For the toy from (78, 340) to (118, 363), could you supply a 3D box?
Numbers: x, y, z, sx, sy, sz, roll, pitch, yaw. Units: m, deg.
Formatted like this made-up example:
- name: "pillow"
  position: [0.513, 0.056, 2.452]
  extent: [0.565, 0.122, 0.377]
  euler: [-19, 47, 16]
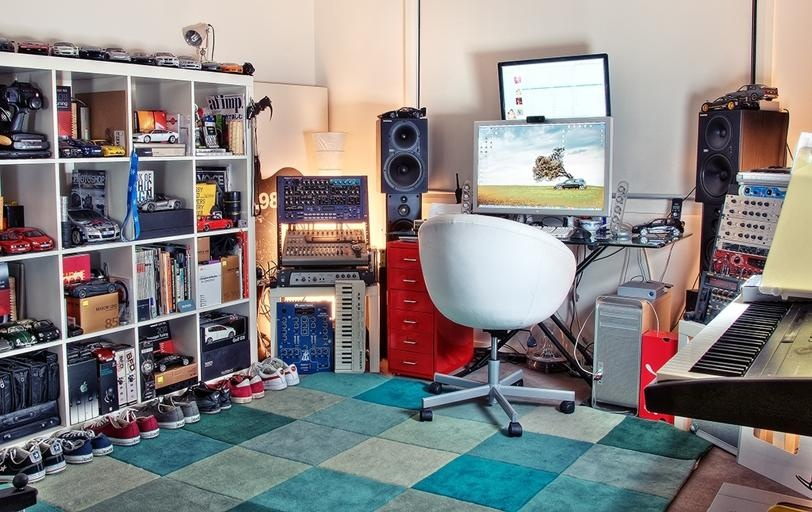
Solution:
- name: "toy"
  position: [-1.959, 0.589, 3.592]
  extent: [0.202, 0.062, 0.122]
  euler: [5, 8, 40]

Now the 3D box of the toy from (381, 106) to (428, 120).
- name: "toy"
  position: [-0.024, -1.088, 4.398]
  extent: [0.250, 0.077, 0.169]
  euler: [0, 3, 5]

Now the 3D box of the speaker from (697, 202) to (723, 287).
- name: "speaker"
  position: [1.967, -0.139, 3.729]
  extent: [0.087, 0.445, 0.234]
  euler: [4, 15, 15]

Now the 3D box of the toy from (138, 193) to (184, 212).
- name: "toy"
  position: [-1.664, -0.360, 3.820]
  extent: [0.196, 0.067, 0.116]
  euler: [-1, 2, -43]

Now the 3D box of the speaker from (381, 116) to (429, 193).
- name: "speaker"
  position: [-0.035, -0.780, 4.533]
  extent: [0.418, 0.584, 0.384]
  euler: [1, 3, 7]

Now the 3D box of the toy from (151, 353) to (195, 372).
- name: "toy"
  position: [-1.612, 0.717, 3.914]
  extent: [0.113, 0.051, 0.196]
  euler: [3, 3, 44]

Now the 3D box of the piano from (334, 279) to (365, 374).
- name: "piano"
  position: [-0.427, 0.522, 4.255]
  extent: [0.243, 0.692, 0.126]
  euler: [-2, 15, -4]

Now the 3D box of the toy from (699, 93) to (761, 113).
- name: "toy"
  position: [2.017, -0.955, 3.595]
  extent: [0.213, 0.055, 0.157]
  euler: [3, 8, 43]

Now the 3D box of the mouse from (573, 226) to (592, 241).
- name: "mouse"
  position: [1.187, -0.150, 3.892]
  extent: [0.094, 0.035, 0.125]
  euler: [6, 16, 21]

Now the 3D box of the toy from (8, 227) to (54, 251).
- name: "toy"
  position: [-2.215, -0.103, 3.354]
  extent: [0.264, 0.084, 0.120]
  euler: [7, 9, 34]

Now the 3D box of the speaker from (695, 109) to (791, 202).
- name: "speaker"
  position: [2.189, -0.640, 3.673]
  extent: [0.579, 0.590, 0.293]
  euler: [-4, 15, -13]

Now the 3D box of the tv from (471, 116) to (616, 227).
- name: "tv"
  position: [0.956, -0.640, 4.103]
  extent: [1.041, 0.696, 0.129]
  euler: [6, 18, 32]

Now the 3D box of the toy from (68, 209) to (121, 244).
- name: "toy"
  position: [-1.971, -0.204, 3.596]
  extent: [0.336, 0.115, 0.191]
  euler: [17, 17, 32]

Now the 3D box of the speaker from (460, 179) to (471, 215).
- name: "speaker"
  position: [0.443, -0.456, 4.336]
  extent: [0.063, 0.206, 0.116]
  euler: [1, 1, -35]

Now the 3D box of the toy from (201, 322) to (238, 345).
- name: "toy"
  position: [-1.332, 0.542, 4.076]
  extent: [0.185, 0.080, 0.097]
  euler: [-12, 19, -37]

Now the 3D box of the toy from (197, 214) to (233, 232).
- name: "toy"
  position: [-1.369, -0.235, 4.038]
  extent: [0.181, 0.054, 0.102]
  euler: [-8, 13, -41]

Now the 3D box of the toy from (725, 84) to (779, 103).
- name: "toy"
  position: [2.181, -1.013, 3.656]
  extent: [0.311, 0.098, 0.171]
  euler: [6, 11, 25]

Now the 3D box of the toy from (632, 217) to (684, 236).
- name: "toy"
  position: [1.732, -0.201, 3.954]
  extent: [0.296, 0.116, 0.167]
  euler: [3, 4, 9]

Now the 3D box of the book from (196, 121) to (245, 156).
- name: "book"
  position: [-1.279, -0.870, 4.136]
  extent: [0.438, 0.221, 0.394]
  euler: [-2, 19, -13]

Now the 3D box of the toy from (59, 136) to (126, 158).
- name: "toy"
  position: [-1.904, -0.658, 3.462]
  extent: [0.266, 0.067, 0.190]
  euler: [5, 7, 38]

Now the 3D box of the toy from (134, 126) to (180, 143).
- name: "toy"
  position: [-1.642, -0.789, 3.748]
  extent: [0.229, 0.065, 0.108]
  euler: [-1, 7, -26]
